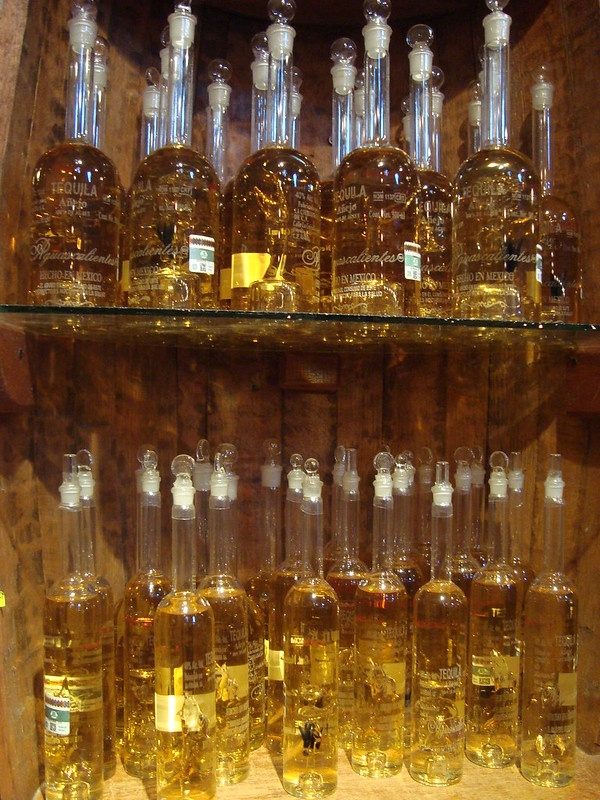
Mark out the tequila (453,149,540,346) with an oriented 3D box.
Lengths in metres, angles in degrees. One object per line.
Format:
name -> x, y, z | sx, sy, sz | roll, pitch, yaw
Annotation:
tequila -> 0.224, -0.194, 0.969 | 0.099, 0.218, 0.060 | 0, -6, 13

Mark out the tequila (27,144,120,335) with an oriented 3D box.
tequila -> -0.251, -0.200, 0.959 | 0.064, 0.206, 0.091 | -3, -7, 38

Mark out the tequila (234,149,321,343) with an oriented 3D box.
tequila -> -0.029, -0.196, 1.008 | 0.102, 0.227, 0.096 | 4, -13, -9

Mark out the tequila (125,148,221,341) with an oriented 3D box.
tequila -> -0.140, -0.197, 0.948 | 0.097, 0.200, 0.052 | 2, -6, -10
